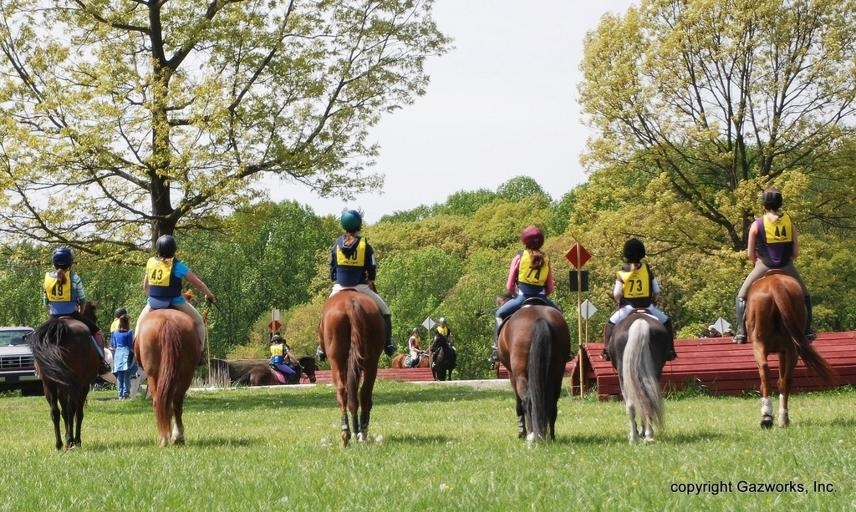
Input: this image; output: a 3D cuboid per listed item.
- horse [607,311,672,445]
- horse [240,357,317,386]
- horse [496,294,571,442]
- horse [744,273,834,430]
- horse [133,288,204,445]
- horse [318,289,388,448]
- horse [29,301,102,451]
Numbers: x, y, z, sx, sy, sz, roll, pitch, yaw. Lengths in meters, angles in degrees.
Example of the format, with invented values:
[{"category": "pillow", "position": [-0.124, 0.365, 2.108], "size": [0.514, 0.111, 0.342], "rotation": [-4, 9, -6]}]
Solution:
[{"category": "horse", "position": [6.459, 3.664, 37.952], "size": [1.764, 3.704, 2.529], "rotation": [1, -1, 5]}, {"category": "horse", "position": [-7.411, 5.834, 60.459], "size": [4.895, 1.601, 2.228], "rotation": [1, -2, -23]}, {"category": "horse", "position": [3.307, 3.324, 39.959], "size": [2.190, 4.918, 7.244], "rotation": [-2, 3, -1]}, {"category": "horse", "position": [11.703, 2.902, 41.650], "size": [2.363, 6.014, 7.995], "rotation": [-3, -11, 9]}, {"category": "horse", "position": [-8.491, 3.403, 40.498], "size": [2.041, 4.921, 6.763], "rotation": [-2, 2, -13]}, {"category": "horse", "position": [-2.059, 3.445, 38.895], "size": [2.405, 4.293, 2.615], "rotation": [1, -1, -9]}, {"category": "horse", "position": [-11.440, 3.966, 39.087], "size": [2.191, 3.941, 2.788], "rotation": [0, -2, -19]}]
